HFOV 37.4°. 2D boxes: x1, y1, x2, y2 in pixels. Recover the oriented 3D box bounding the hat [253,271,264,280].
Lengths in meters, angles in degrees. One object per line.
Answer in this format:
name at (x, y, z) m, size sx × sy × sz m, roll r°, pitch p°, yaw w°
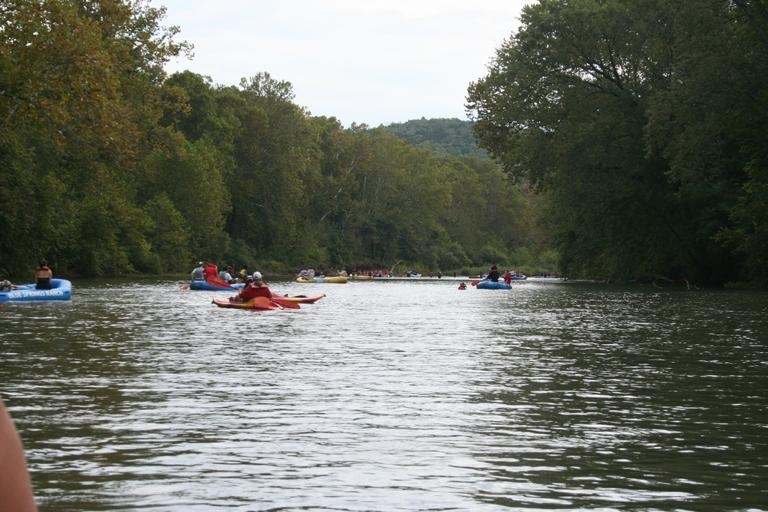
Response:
hat at (-7.728, 1.213, 69.833) m, size 0.525 × 0.523 × 0.656 m, roll -3°, pitch -33°, yaw -11°
